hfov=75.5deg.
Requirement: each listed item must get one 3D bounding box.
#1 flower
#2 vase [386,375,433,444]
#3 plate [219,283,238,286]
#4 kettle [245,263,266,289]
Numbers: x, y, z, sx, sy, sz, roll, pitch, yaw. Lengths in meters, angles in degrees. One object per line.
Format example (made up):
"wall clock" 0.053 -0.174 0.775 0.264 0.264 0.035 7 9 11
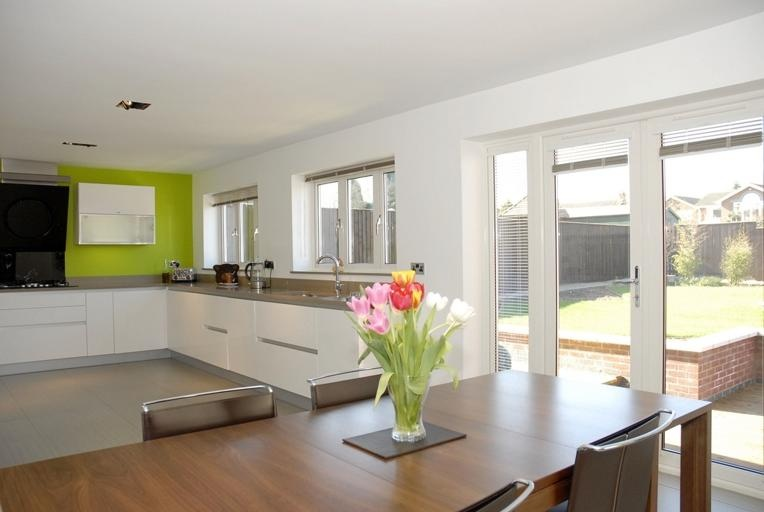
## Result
"flower" 0.180 0.474 2.100 0.482 0.650 0.530 -2 0 -31
"vase" 0.113 0.657 2.115 0.199 0.255 0.197 -13 -20 30
"plate" -2.087 0.406 6.697 0.236 0.024 0.287 -2 5 -19
"kettle" -1.669 0.264 6.525 0.420 0.405 0.270 -2 -3 44
